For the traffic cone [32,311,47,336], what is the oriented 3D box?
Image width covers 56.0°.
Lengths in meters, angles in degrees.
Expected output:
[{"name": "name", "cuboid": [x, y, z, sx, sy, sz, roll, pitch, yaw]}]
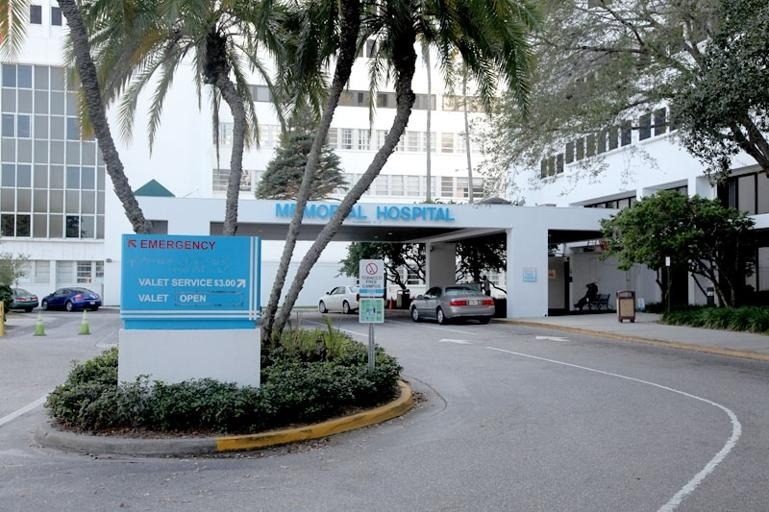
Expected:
[{"name": "traffic cone", "cuboid": [-14.651, 2.848, 30.595, 0.637, 0.956, 0.710, 1, -4, -16]}]

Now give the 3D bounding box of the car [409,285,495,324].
[{"name": "car", "cuboid": [2.633, 2.032, 31.807, 1.558, 1.133, 3.317, 1, 0, -19]}]

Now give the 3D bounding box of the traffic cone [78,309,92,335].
[{"name": "traffic cone", "cuboid": [-12.973, 2.848, 31.179, 0.662, 0.996, 0.715, 1, -6, -10]}]

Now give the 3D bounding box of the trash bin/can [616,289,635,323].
[{"name": "trash bin/can", "cuboid": [9.939, 2.091, 29.742, 0.795, 1.283, 0.512, -1, 14, -18]}]
